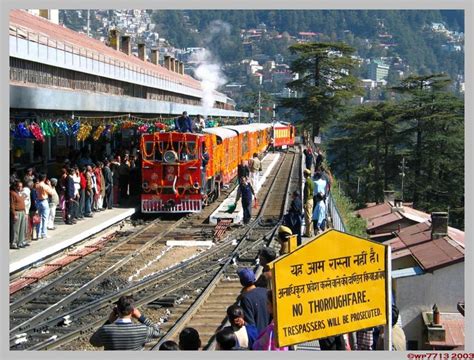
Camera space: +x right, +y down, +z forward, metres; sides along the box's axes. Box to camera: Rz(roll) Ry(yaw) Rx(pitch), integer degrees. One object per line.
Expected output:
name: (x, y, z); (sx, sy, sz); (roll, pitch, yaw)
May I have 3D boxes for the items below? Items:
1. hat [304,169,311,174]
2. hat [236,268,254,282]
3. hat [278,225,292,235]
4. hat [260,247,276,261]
hat: (2.476, -0.323, 23.859); (0.230, 0.155, 0.238); (11, 0, -28)
hat: (0.148, 1.844, 13.030); (0.248, 0.225, 0.387); (-3, 26, -14)
hat: (1.027, 1.079, 14.613); (0.258, 0.178, 0.466); (1, 5, 2)
hat: (0.633, 1.511, 13.612); (0.232, 0.346, 0.308); (7, -12, -11)
